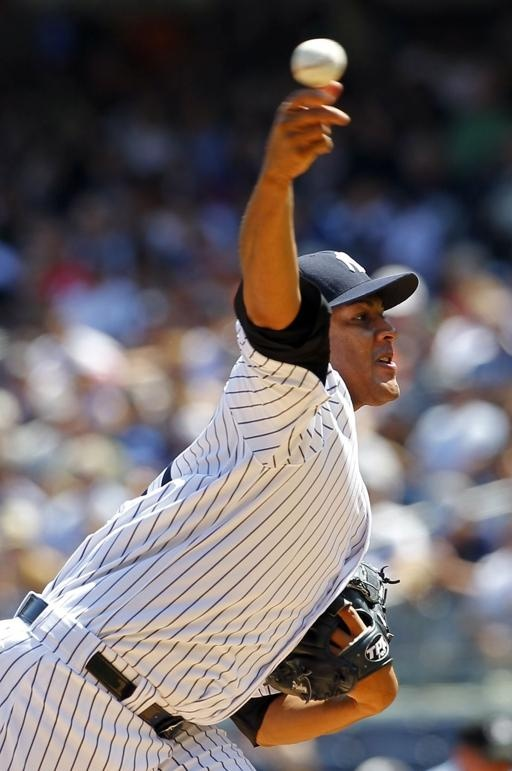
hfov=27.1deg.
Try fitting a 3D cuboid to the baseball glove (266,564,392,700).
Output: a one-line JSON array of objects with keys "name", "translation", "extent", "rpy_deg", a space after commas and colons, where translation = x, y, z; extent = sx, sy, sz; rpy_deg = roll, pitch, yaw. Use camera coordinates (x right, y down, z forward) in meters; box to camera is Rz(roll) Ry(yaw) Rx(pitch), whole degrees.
[{"name": "baseball glove", "translation": [0.206, 0.635, 2.671], "extent": [0.366, 0.143, 0.272], "rpy_deg": [-41, 13, 1]}]

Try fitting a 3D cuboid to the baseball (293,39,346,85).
[{"name": "baseball", "translation": [0.126, -0.644, 2.148], "extent": [0.120, 0.081, 0.088], "rpy_deg": [1, 18, 14]}]
